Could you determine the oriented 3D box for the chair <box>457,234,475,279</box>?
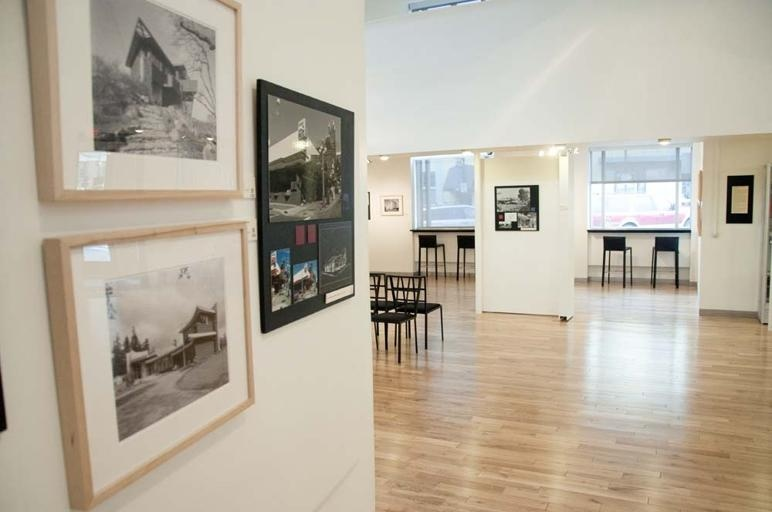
[{"bbox_3d":[1.904,-0.037,13.203,0.402,1.076,0.719,-1,8,5],"label":"chair"}]

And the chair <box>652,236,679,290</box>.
[{"bbox_3d":[5.910,0.091,11.483,0.556,1.071,0.715,3,9,28],"label":"chair"}]

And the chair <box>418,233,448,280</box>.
[{"bbox_3d":[1.083,-0.052,13.467,0.553,0.957,0.589,-4,-4,24],"label":"chair"}]

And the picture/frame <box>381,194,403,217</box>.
[{"bbox_3d":[0.169,-1.331,13.519,0.570,0.495,0.041,2,4,27],"label":"picture/frame"}]

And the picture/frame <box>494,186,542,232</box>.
[{"bbox_3d":[2.183,-0.801,8.859,0.722,0.733,0.039,5,6,26],"label":"picture/frame"}]

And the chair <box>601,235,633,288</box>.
[{"bbox_3d":[5.070,0.056,11.933,0.656,1.068,0.854,3,9,28],"label":"chair"}]
